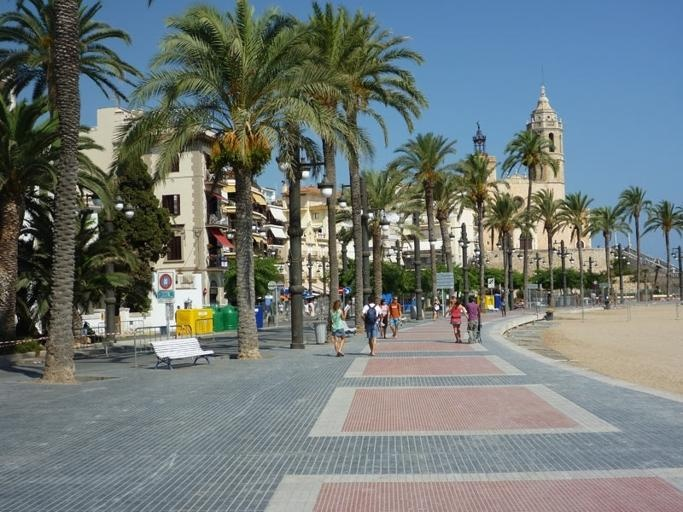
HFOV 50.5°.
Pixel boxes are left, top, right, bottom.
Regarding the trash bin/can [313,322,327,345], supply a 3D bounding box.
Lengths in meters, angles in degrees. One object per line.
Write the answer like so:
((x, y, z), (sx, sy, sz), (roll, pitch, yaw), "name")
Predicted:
((-0.922, 3.113, 29.463), (0.629, 0.819, 0.672), (0, -8, -4), "trash bin/can")

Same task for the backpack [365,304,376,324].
((0.923, 1.851, 23.009), (0.435, 0.735, 0.386), (1, -27, 3), "backpack")

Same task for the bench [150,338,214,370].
((-4.750, 2.850, 21.569), (1.561, 0.885, 3.233), (-1, -7, -11), "bench")
